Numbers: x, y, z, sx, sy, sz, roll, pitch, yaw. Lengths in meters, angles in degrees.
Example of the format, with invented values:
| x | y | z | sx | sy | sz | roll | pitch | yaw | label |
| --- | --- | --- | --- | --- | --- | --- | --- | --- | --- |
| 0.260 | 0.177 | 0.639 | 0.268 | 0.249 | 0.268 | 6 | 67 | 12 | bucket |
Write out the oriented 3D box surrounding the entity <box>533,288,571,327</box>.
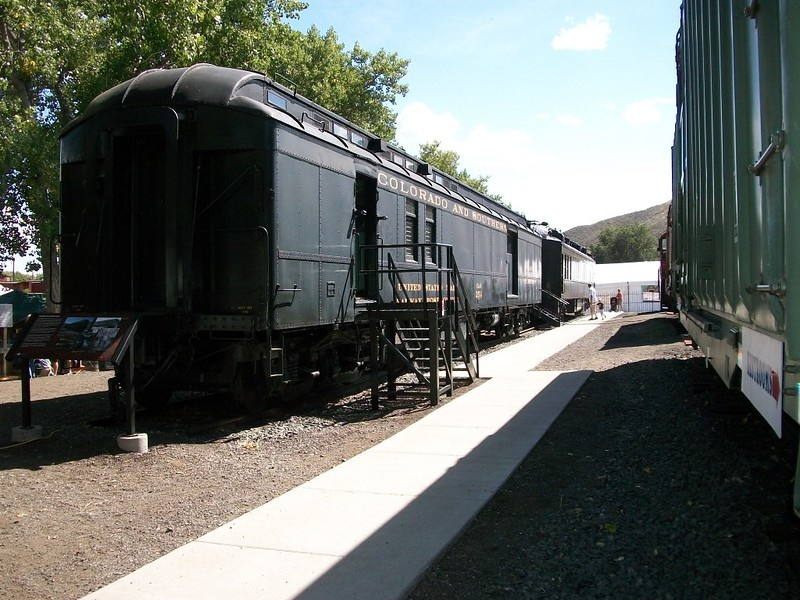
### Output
| x | y | z | sx | sy | sz | roll | pitch | yaw | label |
| --- | --- | --- | --- | --- | --- | --- | --- | --- | --- |
| 6.476 | 0.466 | 26.496 | 0.932 | 1.722 | 3.561 | 1 | 7 | 10 | entity |

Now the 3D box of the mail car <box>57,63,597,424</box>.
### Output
| x | y | z | sx | sy | sz | roll | pitch | yaw | label |
| --- | --- | --- | --- | --- | --- | --- | --- | --- | --- |
| 0.166 | -1.228 | 14.743 | 3.442 | 4.467 | 15.142 | 1 | 3 | 28 | mail car |
